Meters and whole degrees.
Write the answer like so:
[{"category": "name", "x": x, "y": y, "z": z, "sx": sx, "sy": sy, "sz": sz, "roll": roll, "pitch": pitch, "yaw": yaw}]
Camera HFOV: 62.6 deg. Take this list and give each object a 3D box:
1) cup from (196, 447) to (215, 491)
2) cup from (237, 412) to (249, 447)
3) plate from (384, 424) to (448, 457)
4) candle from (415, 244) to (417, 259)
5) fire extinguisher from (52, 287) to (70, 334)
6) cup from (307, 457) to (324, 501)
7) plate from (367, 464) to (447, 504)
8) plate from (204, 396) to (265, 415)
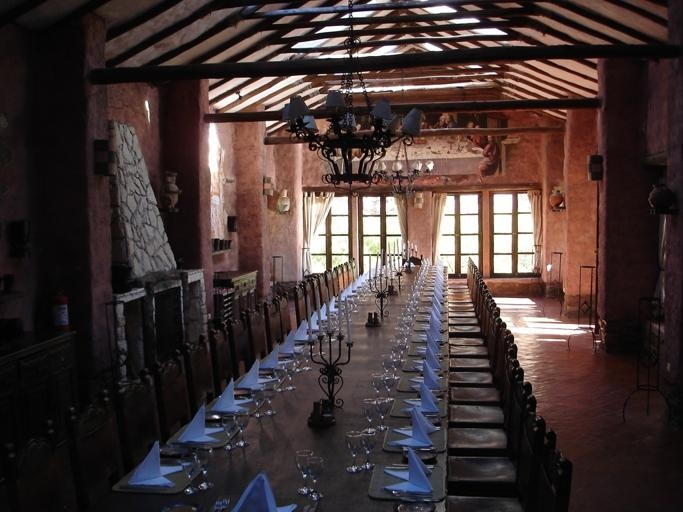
[{"category": "cup", "x": -0.830, "y": 1.278, "z": 3.389, "sx": 0.097, "sy": 0.208, "sz": 0.183, "roll": -2, "pitch": 4, "yaw": -16}, {"category": "cup", "x": -0.692, "y": 1.166, "z": 3.824, "sx": 0.088, "sy": 0.228, "sz": 0.212, "roll": -1, "pitch": 4, "yaw": -11}, {"category": "plate", "x": 0.490, "y": 1.248, "z": 3.766, "sx": 0.430, "sy": 0.058, "sz": 0.351, "roll": 0, "pitch": 4, "yaw": 6}, {"category": "candle", "x": 2.046, "y": -0.160, "z": 15.493, "sx": 0.106, "sy": 0.347, "sz": 0.351, "roll": 0, "pitch": 4, "yaw": 5}, {"category": "fire extinguisher", "x": -3.056, "y": 0.607, "z": 6.099, "sx": 0.154, "sy": 0.398, "sz": 0.467, "roll": -3, "pitch": 5, "yaw": -26}, {"category": "cup", "x": -0.154, "y": 1.266, "z": 3.268, "sx": 0.083, "sy": 0.262, "sz": 0.203, "roll": -1, "pitch": 4, "yaw": -3}, {"category": "plate", "x": 0.389, "y": 1.360, "z": 3.345, "sx": 0.457, "sy": 0.077, "sz": 0.303, "roll": 0, "pitch": 4, "yaw": 5}, {"category": "plate", "x": -0.834, "y": 1.153, "z": 4.275, "sx": 0.259, "sy": 0.100, "sz": 0.207, "roll": -1, "pitch": -5, "yaw": 1}]
